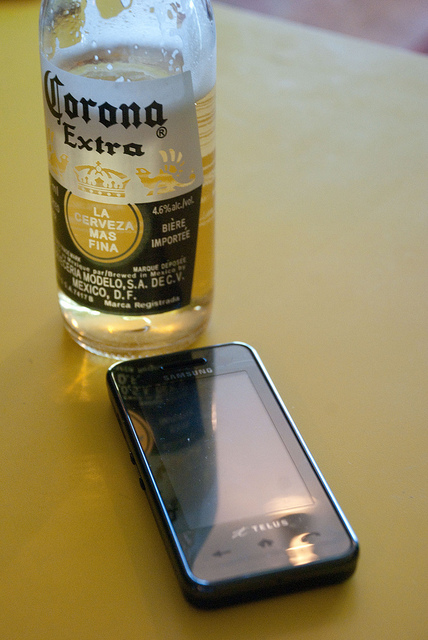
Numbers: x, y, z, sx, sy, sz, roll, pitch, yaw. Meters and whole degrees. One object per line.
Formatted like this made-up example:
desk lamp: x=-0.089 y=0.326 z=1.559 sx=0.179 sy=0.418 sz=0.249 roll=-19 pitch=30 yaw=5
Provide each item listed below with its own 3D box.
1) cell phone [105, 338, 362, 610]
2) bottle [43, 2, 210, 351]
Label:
cell phone: x=0.004 y=0.060 z=0.250 sx=0.070 sy=0.019 sz=0.133 roll=-6 pitch=33 yaw=-15
bottle: x=-0.049 y=-0.081 z=0.324 sx=0.094 sy=0.162 sz=0.129 roll=0 pitch=35 yaw=-4
